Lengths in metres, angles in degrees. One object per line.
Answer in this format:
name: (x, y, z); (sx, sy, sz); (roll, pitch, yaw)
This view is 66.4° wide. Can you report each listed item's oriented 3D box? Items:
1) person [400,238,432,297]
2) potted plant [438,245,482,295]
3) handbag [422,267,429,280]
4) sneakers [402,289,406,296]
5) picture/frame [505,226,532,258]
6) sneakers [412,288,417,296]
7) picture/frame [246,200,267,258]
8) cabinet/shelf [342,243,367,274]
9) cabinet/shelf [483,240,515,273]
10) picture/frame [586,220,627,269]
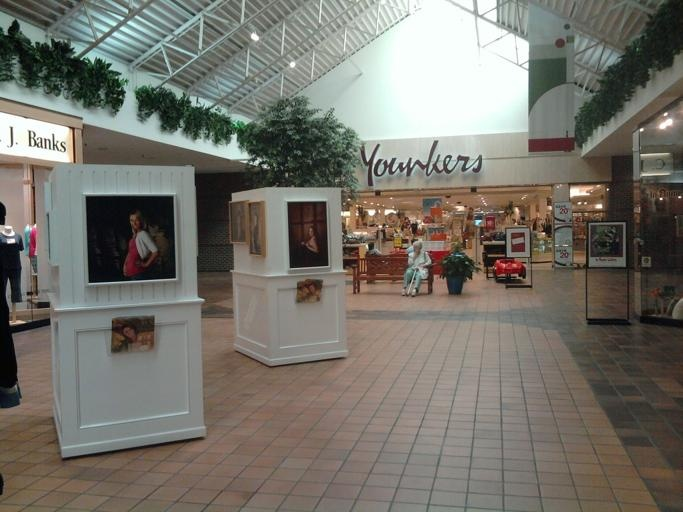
person: (1.999, 0.285, 13.795); (0.736, 1.400, 1.301); (0, 4, 11)
potted plant: (3.117, 0.317, 13.870); (1.078, 1.452, 1.134); (2, 5, 33)
handbag: (2.204, 0.464, 13.757); (0.195, 0.265, 0.280); (-1, -40, 4)
sneakers: (1.590, 0.926, 13.328); (0.101, 0.150, 0.198); (-1, 4, 2)
picture/frame: (4.814, -0.388, 14.212); (0.801, 1.085, 0.103); (0, -1, 5)
sneakers: (1.855, 0.921, 13.271); (0.135, 0.170, 0.249); (-1, 4, 4)
picture/frame: (-1.120, -0.376, 6.933); (0.125, 1.029, 0.727); (-2, 2, -24)
cabinet/shelf: (0.424, 0.020, 18.040); (0.891, 1.329, 0.888); (0, -7, 3)
cabinet/shelf: (5.334, 0.022, 18.045); (0.897, 1.143, 0.888); (-4, -6, 23)
picture/frame: (4.593, -0.192, 9.020); (0.755, 0.995, 0.068); (0, -5, 7)
